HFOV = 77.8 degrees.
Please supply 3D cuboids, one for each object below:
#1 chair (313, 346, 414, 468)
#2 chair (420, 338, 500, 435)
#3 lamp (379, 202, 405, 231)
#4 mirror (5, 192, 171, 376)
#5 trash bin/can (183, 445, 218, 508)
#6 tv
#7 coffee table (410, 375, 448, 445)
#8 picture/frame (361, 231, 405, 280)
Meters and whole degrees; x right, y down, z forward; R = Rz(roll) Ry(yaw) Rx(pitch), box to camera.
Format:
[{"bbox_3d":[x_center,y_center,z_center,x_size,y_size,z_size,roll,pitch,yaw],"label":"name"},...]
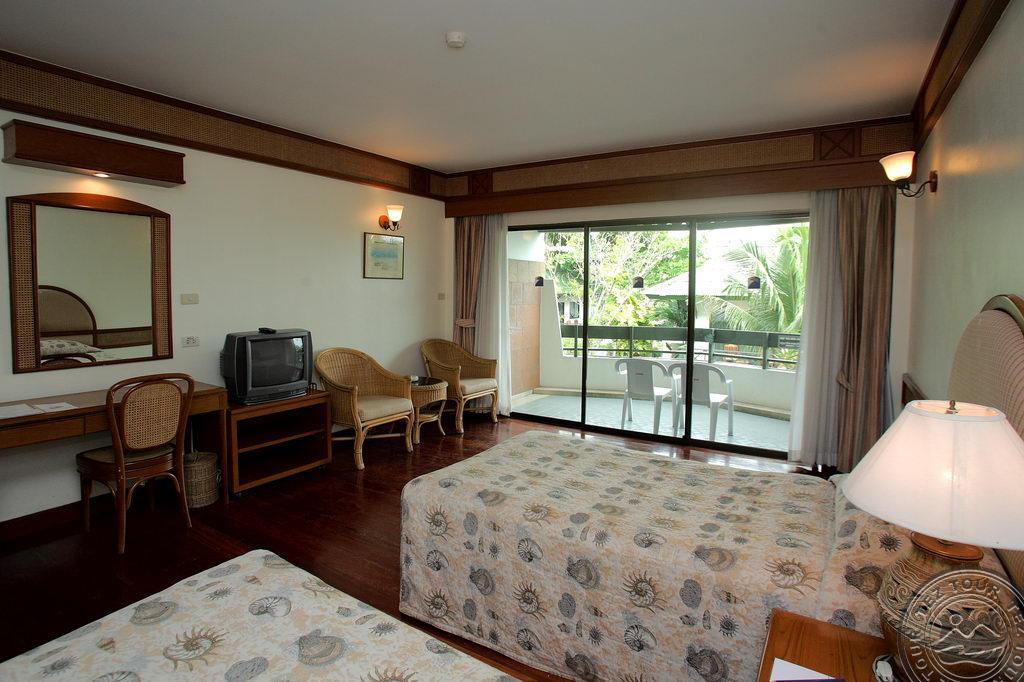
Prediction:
[{"bbox_3d":[-1.460,0.607,6.729,1.059,1.377,1.059,1,4,39],"label":"chair"},{"bbox_3d":[-0.595,0.494,7.695,1.018,1.322,0.969,2,3,42],"label":"chair"},{"bbox_3d":[-1.336,-1.354,6.997,0.303,0.357,0.253,14,17,38],"label":"lamp"},{"bbox_3d":[-3.339,-0.458,4.924,0.068,1.800,1.398,7,8,39],"label":"mirror"},{"bbox_3d":[-2.522,1.118,5.252,0.353,0.370,0.359,4,5,34],"label":"trash bin/can"},{"bbox_3d":[-2.140,0.148,5.743,0.575,0.820,0.911,3,5,36],"label":"tv"},{"bbox_3d":[-0.957,0.719,6.916,0.572,0.608,0.585,0,0,-21],"label":"coffee table"},{"bbox_3d":[-1.451,-0.951,7.027,0.022,0.454,0.596,0,1,31],"label":"picture/frame"}]
